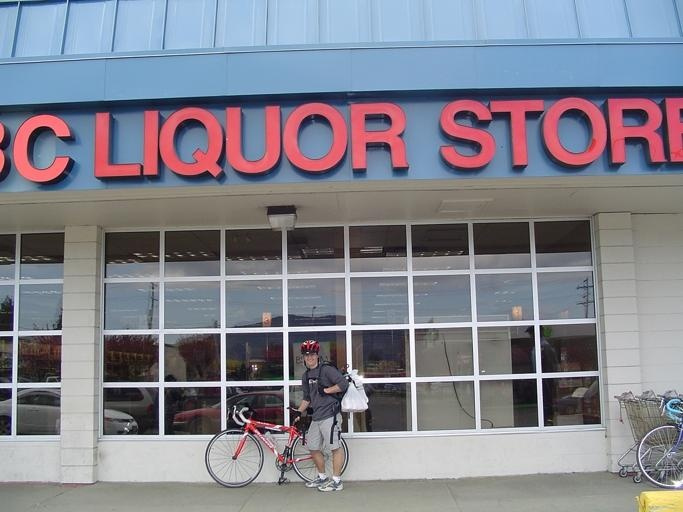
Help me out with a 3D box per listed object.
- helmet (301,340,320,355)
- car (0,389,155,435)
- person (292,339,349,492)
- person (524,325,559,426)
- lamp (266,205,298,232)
[{"bbox_3d":[-0.522,1.513,11.922,0.242,0.205,0.300,-1,-25,3],"label":"helmet"},{"bbox_3d":[-4.880,2.836,12.986,2.463,0.829,0.988,0,-9,-1],"label":"car"},{"bbox_3d":[-0.305,2.644,11.753,0.794,2.413,0.553,4,10,31],"label":"person"},{"bbox_3d":[3.515,2.190,12.595,0.712,2.375,0.996,-1,-19,18],"label":"person"},{"bbox_3d":[-1.016,-0.670,12.260,0.503,0.416,0.428,-2,9,-1],"label":"lamp"}]
